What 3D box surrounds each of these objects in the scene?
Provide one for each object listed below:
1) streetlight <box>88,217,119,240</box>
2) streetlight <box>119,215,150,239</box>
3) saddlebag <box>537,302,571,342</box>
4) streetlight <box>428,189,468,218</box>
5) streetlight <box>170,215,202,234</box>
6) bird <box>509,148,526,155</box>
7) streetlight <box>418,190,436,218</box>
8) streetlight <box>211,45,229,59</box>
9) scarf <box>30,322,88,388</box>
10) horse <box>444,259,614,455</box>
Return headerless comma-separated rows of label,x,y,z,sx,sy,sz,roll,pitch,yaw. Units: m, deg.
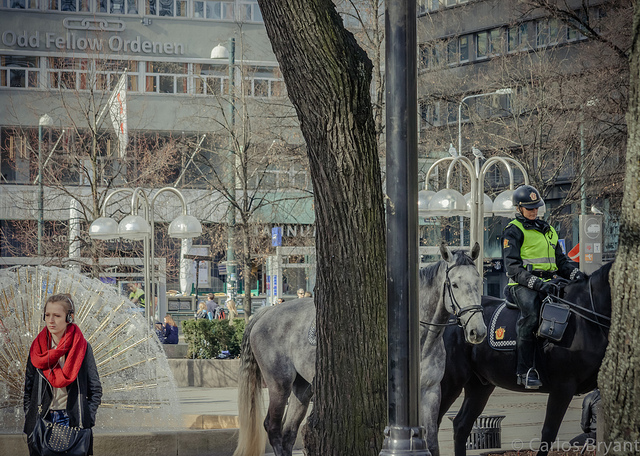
streetlight,-6.654,-0.008,46.864,0.674,0.549,0.708,0,-6,1
streetlight,-5.668,-0.071,46.396,0.707,0.532,0.702,5,-9,-39
saddlebag,6.018,2.402,38.651,0.680,1.008,0.502,13,-5,22
streetlight,3.745,-0.740,44.777,0.837,0.799,0.879,0,-7,0
streetlight,-4.123,-0.116,46.410,0.609,0.417,0.637,-2,-1,25
bird,7.807,-3.139,59.932,0.590,0.187,0.656,1,-4,28
streetlight,3.040,-0.759,44.732,0.780,0.821,0.814,1,-4,-9
streetlight,-3.848,-6.926,58.449,0.658,0.652,0.914,-3,-3,-3
scarf,-6.360,3.086,36.723,1.054,1.532,1.155,3,-1,16
horse,5.431,3.444,40.309,4.182,5.225,5.894,-12,-6,32
